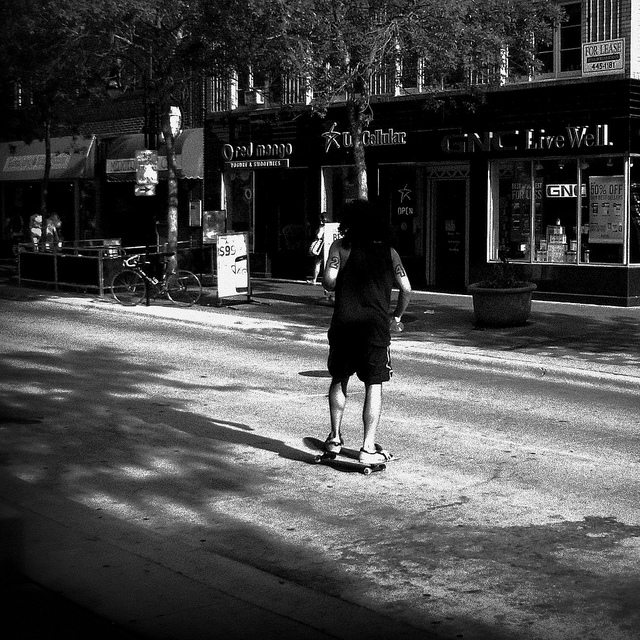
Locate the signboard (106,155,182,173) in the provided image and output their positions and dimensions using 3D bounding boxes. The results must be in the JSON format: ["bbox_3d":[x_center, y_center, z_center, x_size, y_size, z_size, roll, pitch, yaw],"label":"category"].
[{"bbox_3d":[-4.461,-3.950,26.517,1.410,0.405,1.005,4,6,38],"label":"signboard"}]

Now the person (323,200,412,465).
[{"bbox_3d":[0.339,0.101,7.881,0.647,1.984,0.508,0,5,-1],"label":"person"}]

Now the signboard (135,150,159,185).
[{"bbox_3d":[-3.717,-3.216,22.102,0.450,0.708,0.846,-1,6,-12],"label":"signboard"}]

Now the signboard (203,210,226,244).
[{"bbox_3d":[-2.202,-1.875,21.276,0.099,0.927,0.701,0,2,35],"label":"signboard"}]

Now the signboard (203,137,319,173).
[{"bbox_3d":[-1.586,-4.214,26.865,0.256,0.806,4.344,-5,8,-44],"label":"signboard"}]

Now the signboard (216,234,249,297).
[{"bbox_3d":[-1.714,-1.059,19.824,0.080,1.277,0.950,4,8,32],"label":"signboard"}]
